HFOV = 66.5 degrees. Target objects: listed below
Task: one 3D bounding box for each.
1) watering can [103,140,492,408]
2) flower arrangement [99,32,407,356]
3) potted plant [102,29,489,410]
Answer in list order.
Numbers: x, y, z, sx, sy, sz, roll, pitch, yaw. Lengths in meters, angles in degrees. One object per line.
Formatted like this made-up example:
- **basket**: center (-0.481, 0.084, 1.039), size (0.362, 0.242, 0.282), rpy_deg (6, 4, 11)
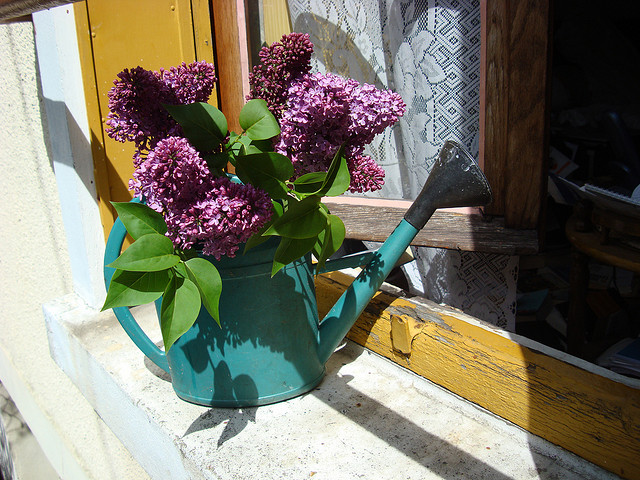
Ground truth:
- **watering can**: center (-0.046, 0.035, 0.800), size (0.598, 0.434, 0.285), rpy_deg (7, 30, 20)
- **flower arrangement**: center (-0.088, -0.080, 0.649), size (0.414, 0.194, 0.408), rpy_deg (-20, 21, 24)
- **potted plant**: center (-0.051, -0.042, 0.787), size (0.512, 0.512, 0.426), rpy_deg (-2, 22, -3)
